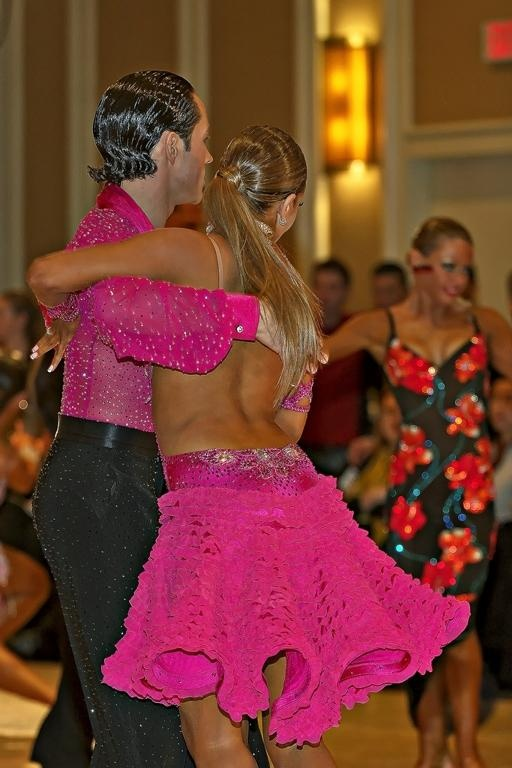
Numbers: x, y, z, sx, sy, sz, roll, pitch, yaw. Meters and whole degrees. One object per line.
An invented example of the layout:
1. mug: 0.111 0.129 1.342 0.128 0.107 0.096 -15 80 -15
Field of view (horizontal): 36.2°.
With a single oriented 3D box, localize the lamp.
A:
1. lamp: 0.390 -1.217 3.355 0.199 0.569 0.117 1 53 4
